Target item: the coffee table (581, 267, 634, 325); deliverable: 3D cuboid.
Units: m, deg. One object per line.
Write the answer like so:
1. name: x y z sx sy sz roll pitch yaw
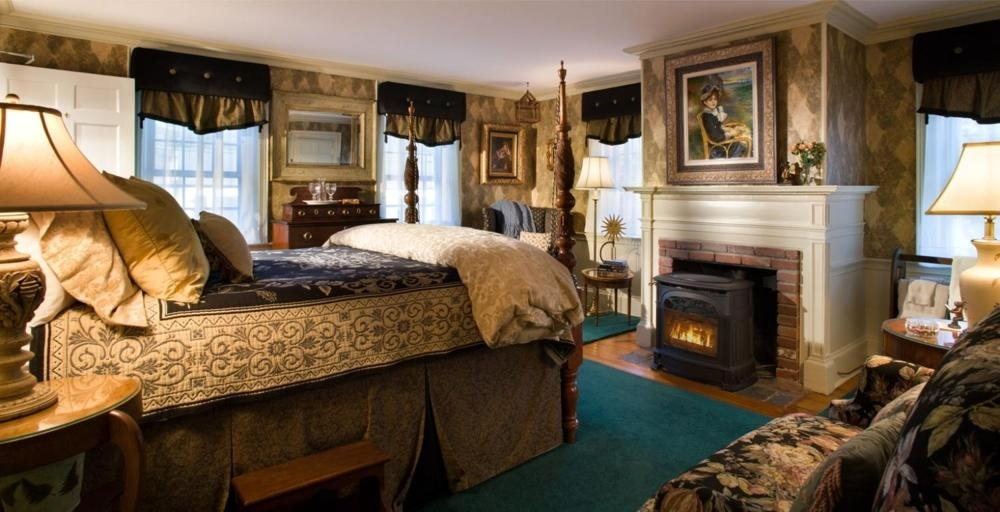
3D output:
1. coffee table: 1.477 0.490 8.168 0.846 0.627 0.795 -1 3 -12

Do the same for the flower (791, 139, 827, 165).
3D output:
1. flower: 3.085 -1.058 6.229 0.285 0.160 0.253 -3 8 -8

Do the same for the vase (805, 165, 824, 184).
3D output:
1. vase: 3.147 -0.832 6.221 0.198 0.174 0.182 -2 5 -5

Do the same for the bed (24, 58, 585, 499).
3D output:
1. bed: -1.566 0.433 5.108 3.281 1.804 3.120 -4 8 -28

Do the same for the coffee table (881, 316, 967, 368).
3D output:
1. coffee table: 3.435 0.613 5.123 0.584 0.174 0.549 -8 9 -31

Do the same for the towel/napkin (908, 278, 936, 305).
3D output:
1. towel/napkin: 4.290 0.361 6.328 0.214 0.246 0.111 5 -8 45

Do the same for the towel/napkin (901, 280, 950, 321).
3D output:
1. towel/napkin: 4.316 0.441 6.298 0.475 0.426 0.348 1 -2 -43

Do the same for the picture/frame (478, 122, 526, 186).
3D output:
1. picture/frame: -0.014 -1.594 9.443 1.193 1.017 0.126 1 0 -38
